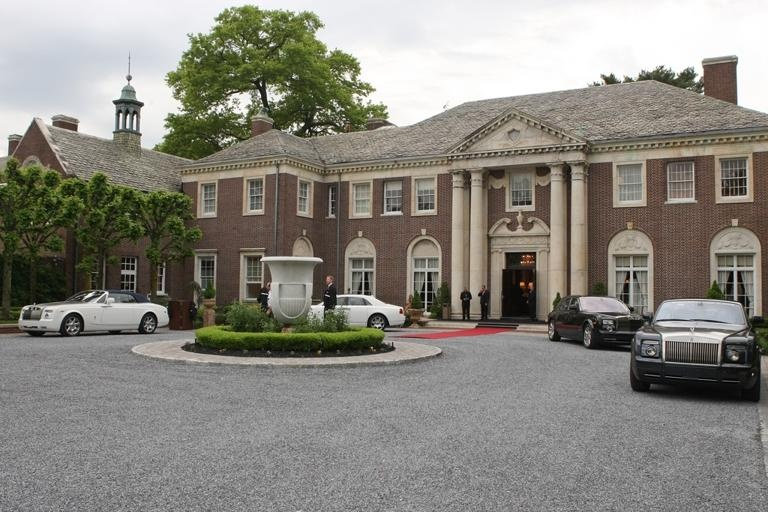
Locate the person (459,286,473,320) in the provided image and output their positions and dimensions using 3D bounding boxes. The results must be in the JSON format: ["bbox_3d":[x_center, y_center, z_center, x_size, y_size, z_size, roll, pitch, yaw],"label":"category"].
[{"bbox_3d":[4.596,2.727,35.463,0.643,1.726,0.525,0,-2,13],"label":"person"}]

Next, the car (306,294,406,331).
[{"bbox_3d":[-1.227,2.569,28.811,4.412,1.374,1.747,3,-4,-2],"label":"car"}]

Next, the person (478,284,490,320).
[{"bbox_3d":[5.598,2.606,35.406,0.593,1.921,1.213,0,-3,8],"label":"person"}]

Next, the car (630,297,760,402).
[{"bbox_3d":[7.106,2.048,14.529,1.760,1.368,3.086,-3,-12,22],"label":"car"}]
